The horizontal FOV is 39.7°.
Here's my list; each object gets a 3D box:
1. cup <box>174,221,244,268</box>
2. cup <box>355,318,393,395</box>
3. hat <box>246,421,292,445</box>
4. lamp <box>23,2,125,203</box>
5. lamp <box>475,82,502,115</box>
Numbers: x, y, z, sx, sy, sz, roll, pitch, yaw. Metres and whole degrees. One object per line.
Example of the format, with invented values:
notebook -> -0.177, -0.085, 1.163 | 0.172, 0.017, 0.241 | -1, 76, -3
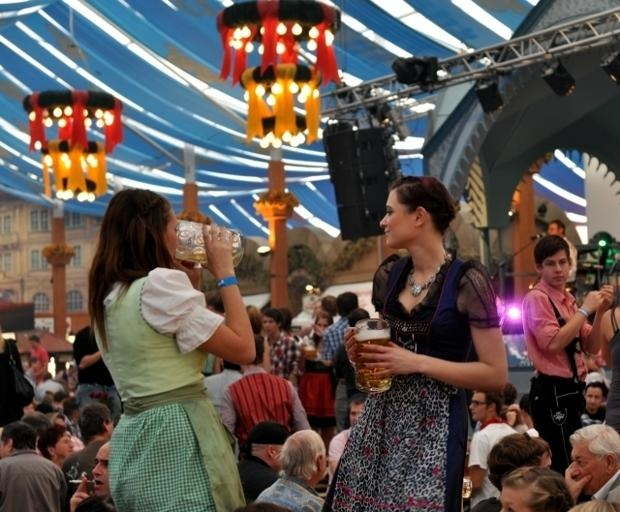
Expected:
cup -> -0.516, -0.033, 4.012 | 0.269, 0.187, 0.294 | 4, 1, 0
cup -> 0.279, 0.437, 3.652 | 0.175, 0.314, 0.148 | -2, -4, -17
hat -> -0.265, 1.157, 5.539 | 0.200, 0.100, 0.145 | -10, 11, -21
lamp -> -3.332, -1.462, 11.842 | 1.108, 1.348, 1.167 | -1, 0, 15
lamp -> 2.105, -1.827, 10.045 | 0.249, 0.366, 0.103 | -20, 11, 14
